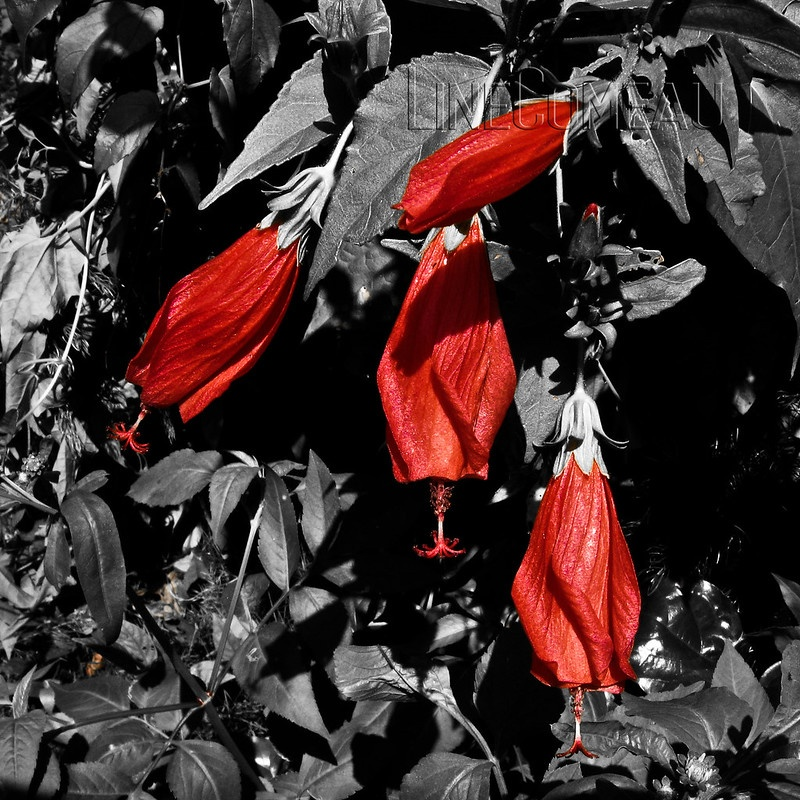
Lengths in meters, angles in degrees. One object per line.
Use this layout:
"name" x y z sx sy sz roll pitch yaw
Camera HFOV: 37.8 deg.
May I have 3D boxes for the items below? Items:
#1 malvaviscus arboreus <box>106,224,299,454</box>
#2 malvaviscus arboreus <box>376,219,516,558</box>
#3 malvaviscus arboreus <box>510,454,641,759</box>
"malvaviscus arboreus" -0.224 -0.095 1.379 0.298 0.118 0.096 -54 10 12
"malvaviscus arboreus" 0.051 -0.048 1.242 0.120 0.232 0.206 4 32 28
"malvaviscus arboreus" 0.188 0.193 1.282 0.135 0.180 0.168 -11 28 3
